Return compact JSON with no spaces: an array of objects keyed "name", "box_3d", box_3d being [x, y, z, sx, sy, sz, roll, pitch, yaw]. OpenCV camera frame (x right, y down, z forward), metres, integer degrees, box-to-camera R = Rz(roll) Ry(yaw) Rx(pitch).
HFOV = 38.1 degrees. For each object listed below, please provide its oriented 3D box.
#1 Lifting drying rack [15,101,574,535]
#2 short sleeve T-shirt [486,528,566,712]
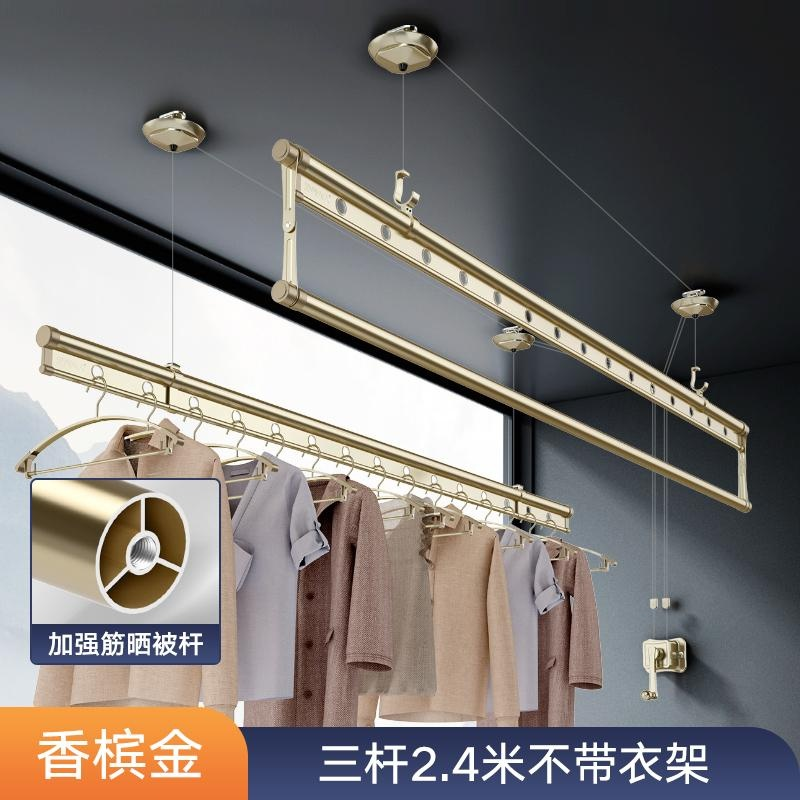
[{"name":"Lifting drying rack","box_3d":[-0.336,-0.263,3.192,1.069,0.627,0.244,22,-35,-39]},{"name":"short sleeve T-shirt","box_3d":[0.389,0.706,3.634,0.460,0.648,0.081,20,-28,-39]}]
